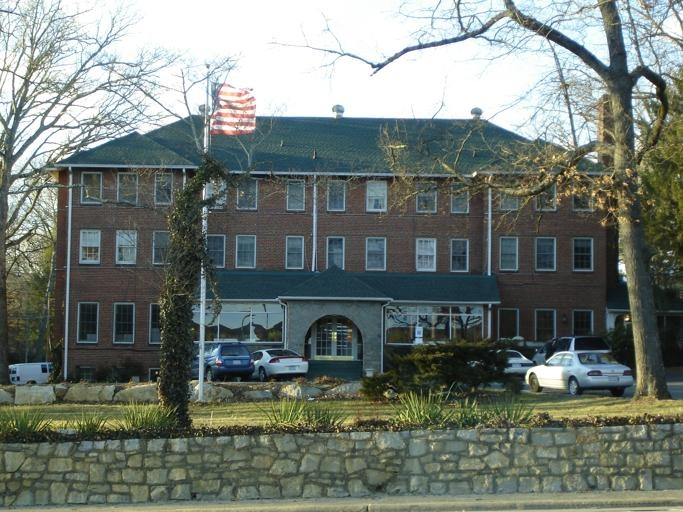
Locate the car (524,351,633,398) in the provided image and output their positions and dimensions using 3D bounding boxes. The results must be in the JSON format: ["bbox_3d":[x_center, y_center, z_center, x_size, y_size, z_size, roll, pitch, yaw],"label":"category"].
[{"bbox_3d":[8.913,4.343,47.300,2.144,1.763,4.978,0,-2,-21],"label":"car"}]

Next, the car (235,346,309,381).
[{"bbox_3d":[-3.155,4.669,53.438,2.021,1.531,4.618,1,-6,-30],"label":"car"}]

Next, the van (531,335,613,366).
[{"bbox_3d":[9.689,3.796,52.943,2.697,1.519,3.502,-4,-8,22],"label":"van"}]

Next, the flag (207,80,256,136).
[{"bbox_3d":[-4.422,-5.915,49.227,1.754,1.975,1.226,-4,5,-10],"label":"flag"}]
